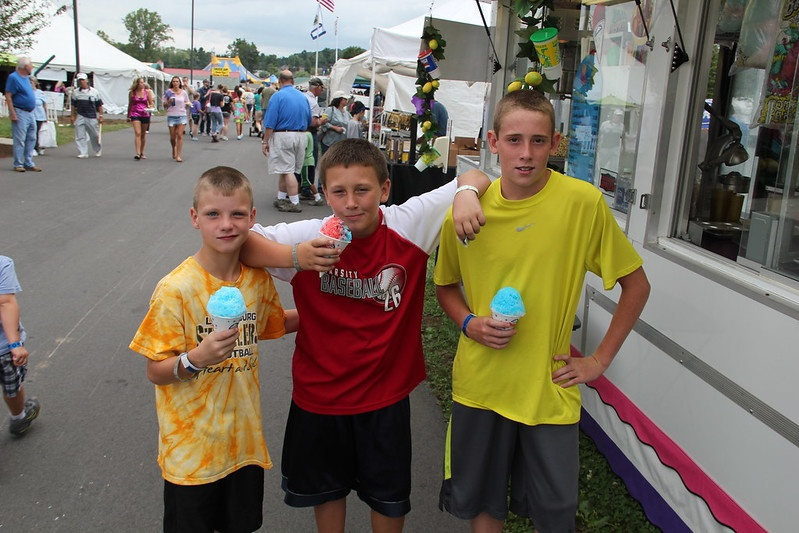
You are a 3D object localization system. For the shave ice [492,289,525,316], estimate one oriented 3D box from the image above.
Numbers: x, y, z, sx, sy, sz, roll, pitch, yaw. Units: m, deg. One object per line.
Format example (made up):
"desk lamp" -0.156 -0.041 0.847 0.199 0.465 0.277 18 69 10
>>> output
"shave ice" 0.526 0.147 2.511 0.146 0.146 0.139 8 12 25

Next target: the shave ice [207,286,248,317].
"shave ice" -0.805 0.157 2.350 0.153 0.103 0.146 2 1 -12

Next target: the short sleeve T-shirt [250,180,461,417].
"short sleeve T-shirt" -0.259 0.176 2.813 1.409 1.128 0.418 -8 16 -14

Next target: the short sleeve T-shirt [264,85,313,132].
"short sleeve T-shirt" -2.316 -3.271 10.697 0.591 0.949 1.176 19 26 35

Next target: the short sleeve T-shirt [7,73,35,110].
"short sleeve T-shirt" -9.698 -4.433 13.058 0.328 0.972 0.646 13 20 40

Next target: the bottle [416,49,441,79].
"bottle" 0.381 -2.690 6.875 0.278 0.346 0.280 1 15 3

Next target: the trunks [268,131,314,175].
"trunks" -2.268 -2.454 10.715 0.511 0.771 0.819 17 28 38

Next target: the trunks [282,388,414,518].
"trunks" -0.281 0.960 2.904 0.784 0.684 0.416 6 6 1

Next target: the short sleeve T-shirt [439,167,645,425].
"short sleeve T-shirt" 0.697 0.152 2.616 0.845 1.226 0.428 6 17 23

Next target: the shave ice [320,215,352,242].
"shave ice" -0.327 -0.179 2.489 0.131 0.107 0.150 -9 17 -30
